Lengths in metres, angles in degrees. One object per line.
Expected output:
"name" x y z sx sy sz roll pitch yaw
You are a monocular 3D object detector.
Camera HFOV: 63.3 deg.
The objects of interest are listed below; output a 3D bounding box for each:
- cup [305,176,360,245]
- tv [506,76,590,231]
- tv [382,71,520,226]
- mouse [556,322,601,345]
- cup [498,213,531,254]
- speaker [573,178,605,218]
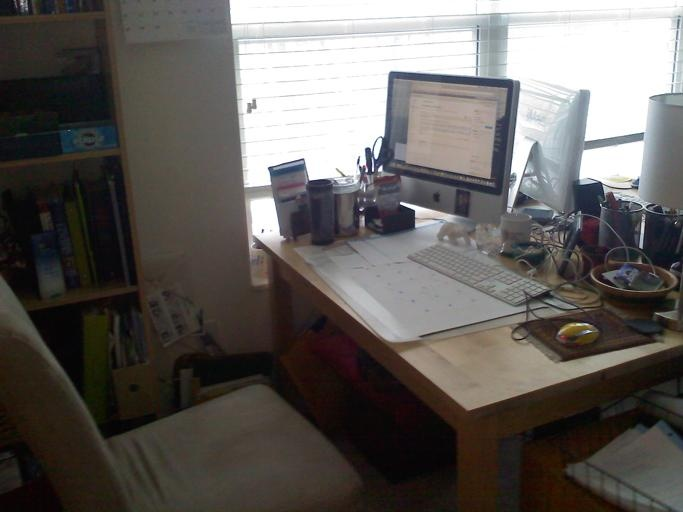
"cup" -0.020 -0.171 1.970 0.145 0.252 0.252 13 28 34
"tv" 0.702 -0.346 1.899 0.150 0.380 0.437 -11 31 -15
"tv" 0.387 -0.372 1.922 0.454 0.408 0.177 23 34 39
"mouse" 0.578 0.181 1.325 0.071 0.023 0.054 -8 28 -5
"cup" 0.542 -0.075 1.790 0.079 0.115 0.135 1 18 9
"speaker" 0.837 -0.195 1.868 0.099 0.101 0.076 13 25 37
